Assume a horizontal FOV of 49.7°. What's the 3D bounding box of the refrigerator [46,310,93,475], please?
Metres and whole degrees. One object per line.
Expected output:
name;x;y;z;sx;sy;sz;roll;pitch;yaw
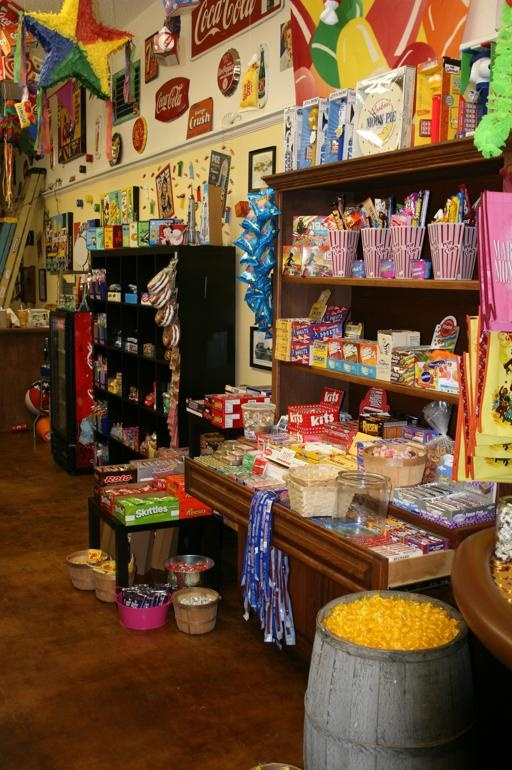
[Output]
refrigerator;-2.105;0.053;6.365;0.276;1.833;0.885;-1;3;-38

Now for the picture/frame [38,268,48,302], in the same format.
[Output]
picture/frame;-3.751;-1.785;9.844;0.075;0.778;0.535;-3;8;-23

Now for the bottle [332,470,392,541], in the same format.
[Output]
bottle;0.363;0.409;1.946;0.186;0.233;0.197;1;4;0

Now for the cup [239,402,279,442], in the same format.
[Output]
cup;0.016;0.196;3.099;0.188;0.186;0.181;2;7;0

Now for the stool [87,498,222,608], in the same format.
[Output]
stool;-0.614;0.948;3.567;0.591;0.508;0.635;0;4;-26

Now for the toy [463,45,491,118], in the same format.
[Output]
toy;0.712;-1.009;1.805;0.083;0.208;0.214;1;3;20

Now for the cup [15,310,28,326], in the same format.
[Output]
cup;-3.416;-0.972;8.198;0.133;0.277;0.485;-1;3;-24

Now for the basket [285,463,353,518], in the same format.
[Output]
basket;0.241;0.413;2.219;0.175;0.159;0.205;0;-2;-16
